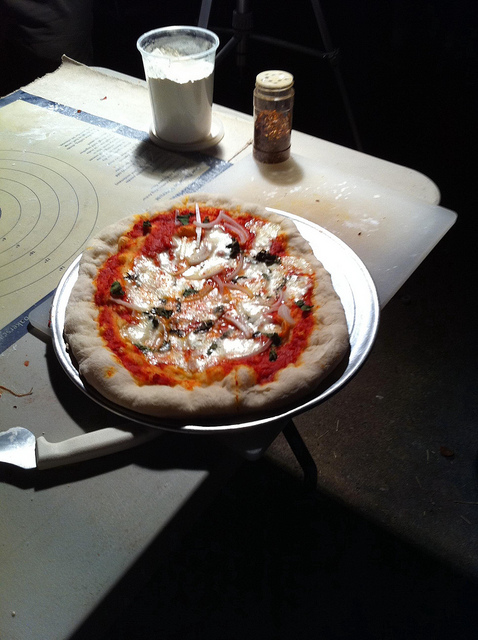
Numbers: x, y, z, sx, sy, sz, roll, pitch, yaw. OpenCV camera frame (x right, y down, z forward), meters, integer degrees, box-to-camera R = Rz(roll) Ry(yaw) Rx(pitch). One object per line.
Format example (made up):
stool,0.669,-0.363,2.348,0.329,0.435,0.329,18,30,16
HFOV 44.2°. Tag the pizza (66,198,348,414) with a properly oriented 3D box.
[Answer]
pizza,-0.055,-0.049,1.000,0.441,0.080,0.532,3,43,0

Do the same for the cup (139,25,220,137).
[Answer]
cup,-0.134,-0.537,1.410,0.190,0.185,0.180,1,27,-1
